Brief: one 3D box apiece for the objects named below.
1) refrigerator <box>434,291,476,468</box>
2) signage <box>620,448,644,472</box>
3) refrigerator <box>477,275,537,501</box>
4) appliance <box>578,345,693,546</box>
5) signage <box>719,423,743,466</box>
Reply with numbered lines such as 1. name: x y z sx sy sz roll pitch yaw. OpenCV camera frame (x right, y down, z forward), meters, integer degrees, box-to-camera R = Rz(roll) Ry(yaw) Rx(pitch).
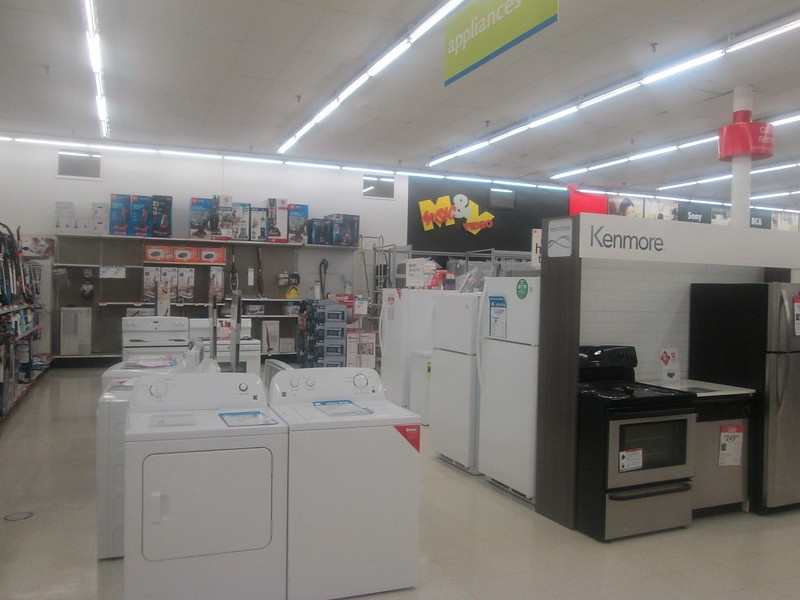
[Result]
1. refrigerator: 0.565 0.802 6.421 0.254 1.716 0.746 -2 8 -22
2. signage: 1.815 1.253 4.966 0.203 0.146 0.027 -1 -1 -28
3. refrigerator: 1.010 0.764 5.759 0.262 1.963 0.832 -2 8 -23
4. appliance: 1.915 1.306 5.107 0.971 1.127 0.343 -1 7 -12
5. signage: 2.874 1.257 5.476 0.016 0.360 0.256 17 -17 -11
